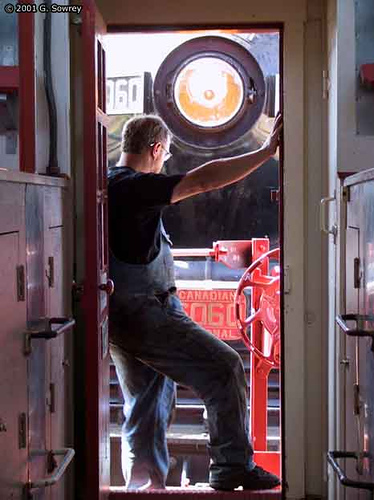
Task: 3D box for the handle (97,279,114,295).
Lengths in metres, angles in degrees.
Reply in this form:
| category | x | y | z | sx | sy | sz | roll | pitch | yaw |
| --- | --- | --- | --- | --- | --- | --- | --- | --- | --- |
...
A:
| category | x | y | z | sx | sy | sz | roll | pitch | yaw |
| --- | --- | --- | --- | --- | --- | --- | --- | --- | --- |
| handle | -0.289 | 0.141 | 3.194 | 0.043 | 0.047 | 0.053 | 2 | 11 | 0 |

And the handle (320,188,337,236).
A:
| category | x | y | z | sx | sy | sz | roll | pitch | yaw |
| --- | --- | --- | --- | --- | --- | --- | --- | --- | --- |
| handle | 0.523 | -0.121 | 3.279 | 0.057 | 0.175 | 0.313 | 0 | -7 | 8 |

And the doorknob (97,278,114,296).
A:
| category | x | y | z | sx | sy | sz | roll | pitch | yaw |
| --- | --- | --- | --- | --- | --- | --- | --- | --- | --- |
| doorknob | -0.291 | 0.131 | 3.186 | 0.042 | 0.066 | 0.042 | -1 | -18 | -3 |

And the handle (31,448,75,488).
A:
| category | x | y | z | sx | sy | sz | roll | pitch | yaw |
| --- | --- | --- | --- | --- | --- | --- | --- | --- | --- |
| handle | -0.416 | 0.686 | 2.763 | 0.102 | 0.103 | 0.347 | 1 | -7 | -2 |

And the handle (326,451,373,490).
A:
| category | x | y | z | sx | sy | sz | roll | pitch | yaw |
| --- | --- | --- | --- | --- | --- | --- | --- | --- | --- |
| handle | 0.487 | 0.680 | 2.673 | 0.125 | 0.134 | 0.496 | 0 | -7 | 9 |

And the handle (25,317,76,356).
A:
| category | x | y | z | sx | sy | sz | roll | pitch | yaw |
| --- | --- | --- | --- | --- | --- | --- | --- | --- | --- |
| handle | -0.424 | 0.271 | 2.765 | 0.124 | 0.128 | 0.335 | 1 | -7 | -3 |

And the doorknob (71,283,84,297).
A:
| category | x | y | z | sx | sy | sz | roll | pitch | yaw |
| --- | --- | --- | --- | --- | --- | --- | --- | --- | --- |
| doorknob | -0.411 | 0.146 | 3.312 | 0.047 | 0.065 | 0.041 | 3 | 14 | 4 |
